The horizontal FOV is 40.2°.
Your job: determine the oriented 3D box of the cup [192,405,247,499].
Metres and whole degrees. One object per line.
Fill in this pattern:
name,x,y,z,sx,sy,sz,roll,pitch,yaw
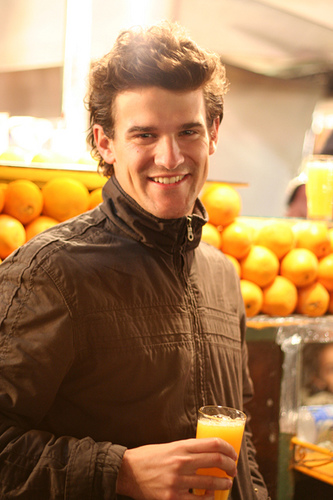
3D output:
cup,0.110,0.404,0.924,0.104,0.175,0.270,2,2,5
